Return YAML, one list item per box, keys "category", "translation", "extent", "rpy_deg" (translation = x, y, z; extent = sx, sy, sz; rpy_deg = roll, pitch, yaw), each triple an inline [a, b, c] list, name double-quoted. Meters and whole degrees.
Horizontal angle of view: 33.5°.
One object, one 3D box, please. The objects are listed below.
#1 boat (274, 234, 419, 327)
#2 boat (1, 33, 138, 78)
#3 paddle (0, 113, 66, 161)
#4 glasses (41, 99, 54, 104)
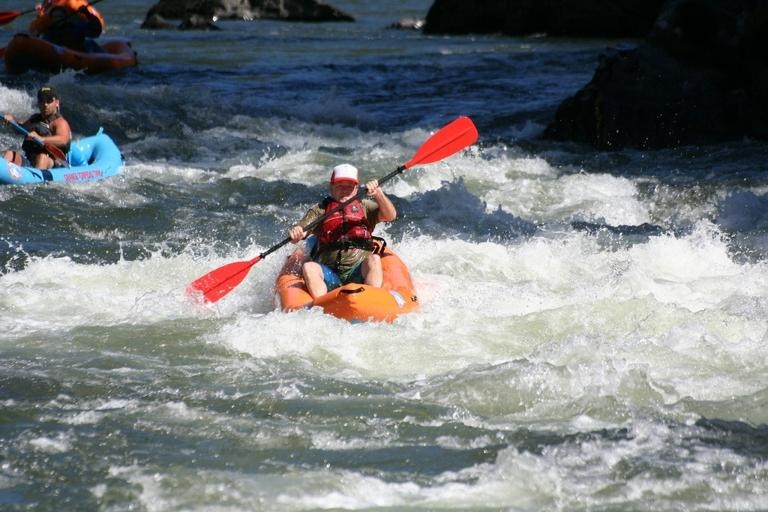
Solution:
- category: "boat"
  translation: [-0.474, 0.402, 17.755]
  extent: [1.968, 0.912, 1.151]
  rpy_deg: [7, 2, 2]
- category: "boat"
  translation: [-6.384, -4.070, 26.616]
  extent: [1.283, 0.464, 2.169]
  rpy_deg: [12, 5, 25]
- category: "paddle"
  translation: [-5.671, -1.893, 20.656]
  extent: [1.774, 0.181, 0.092]
  rpy_deg: [30, 28, 8]
- category: "glasses"
  translation: [-5.355, -2.458, 20.336]
  extent: [0.141, 0.058, 0.027]
  rpy_deg: [5, 5, -43]
